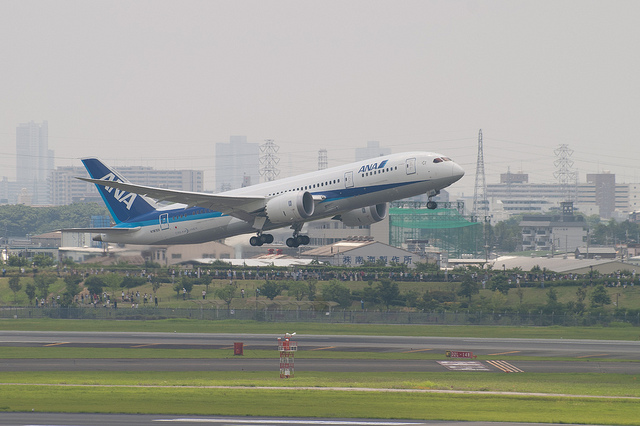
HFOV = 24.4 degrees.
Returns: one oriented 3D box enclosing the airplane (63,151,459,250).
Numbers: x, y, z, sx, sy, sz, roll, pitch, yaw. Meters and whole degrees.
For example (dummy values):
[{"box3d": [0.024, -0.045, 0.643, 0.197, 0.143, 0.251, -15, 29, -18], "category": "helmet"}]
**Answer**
[{"box3d": [-7.541, -1.706, 205.615, 48.527, 12.288, 10.804, 0, -5, 6], "category": "airplane"}]
